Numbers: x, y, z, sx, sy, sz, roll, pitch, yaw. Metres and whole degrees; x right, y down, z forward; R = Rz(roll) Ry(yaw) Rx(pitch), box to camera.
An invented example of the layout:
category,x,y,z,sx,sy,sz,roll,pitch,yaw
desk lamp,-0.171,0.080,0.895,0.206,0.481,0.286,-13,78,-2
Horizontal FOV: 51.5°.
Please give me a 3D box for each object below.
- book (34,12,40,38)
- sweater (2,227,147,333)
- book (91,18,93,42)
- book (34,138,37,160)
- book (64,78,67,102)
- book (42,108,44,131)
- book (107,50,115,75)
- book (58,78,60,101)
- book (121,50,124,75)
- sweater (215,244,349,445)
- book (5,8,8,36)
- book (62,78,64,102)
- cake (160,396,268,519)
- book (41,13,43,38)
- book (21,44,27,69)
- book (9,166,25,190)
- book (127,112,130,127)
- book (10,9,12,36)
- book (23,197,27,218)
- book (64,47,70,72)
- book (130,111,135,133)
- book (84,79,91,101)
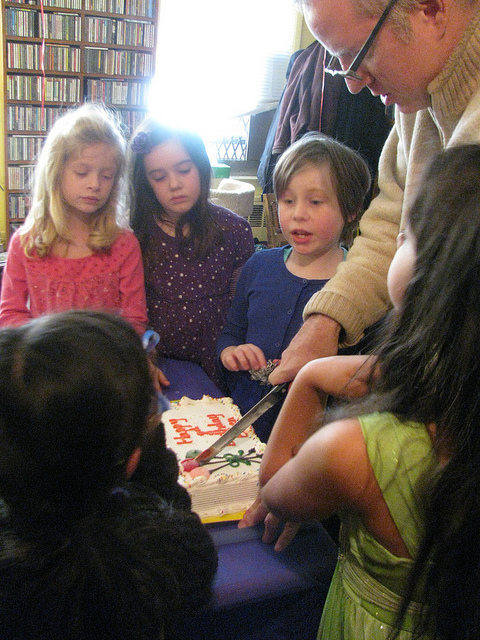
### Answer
category,x,y,z,sx,sy,sz,roll,pitch,yaw
book,-1.381,-1.997,3.369,0.025,0.103,0.102,2,9,-11
sweater,-0.522,-0.149,1.572,0.462,0.281,0.296,4,17,-11
book,-1.031,-2.014,3.458,0.010,0.131,0.026,7,17,-2
book,-1.505,-1.262,3.660,0.018,0.151,0.035,0,19,-24
book,-1.249,-1.645,3.554,0.016,0.148,0.032,1,18,-22
book,-1.423,-1.446,3.590,0.010,0.146,0.068,1,18,-22
book,-0.923,-1.840,3.552,0.048,0.156,0.025,3,18,-17
book,-1.290,-1.638,3.536,0.012,0.141,0.026,1,18,-21
book,-0.845,-1.857,3.586,0.018,0.153,0.029,7,17,-3
sweater,0.087,0.126,1.612,0.379,0.776,0.189,4,26,-22
book,-1.556,-1.986,3.306,0.015,0.149,0.035,0,19,-25
book,-1.263,-1.642,3.549,0.012,0.146,0.028,1,18,-20
cake,-0.053,0.227,0.899,0.158,0.064,0.236,-18,31,-18
book,-1.338,-1.994,3.354,0.010,0.130,0.036,1,18,-22
book,-1.492,-1.815,3.428,0.029,0.119,0.089,1,9,-6
book,-1.659,-1.056,3.689,0.145,0.150,0.039,1,12,-15
book,-0.840,-1.517,3.750,0.016,0.093,0.038,0,19,-23
book,-1.533,-1.986,3.324,0.015,0.150,0.025,-4,20,-33
book,-1.616,-0.851,3.741,0.018,0.145,0.078,-5,21,-36
book,-1.217,-1.830,3.488,0.034,0.146,0.014,1,18,-21
book,-0.807,-1.484,3.721,0.039,0.160,0.137,4,17,-14
book,-1.107,-1.685,3.611,0.026,0.107,0.108,9,19,8
